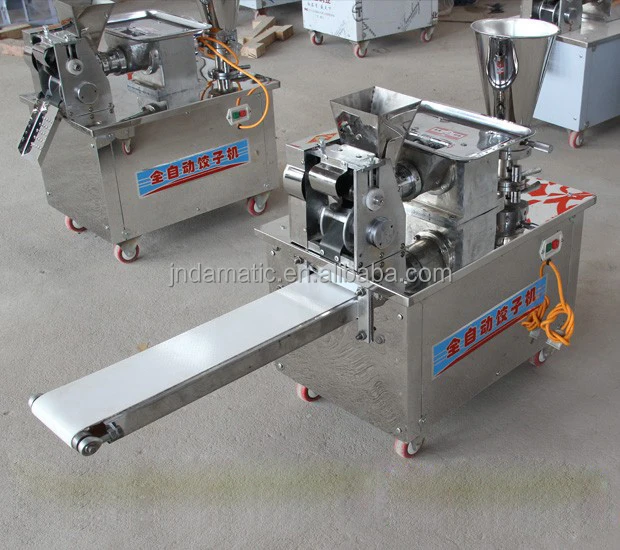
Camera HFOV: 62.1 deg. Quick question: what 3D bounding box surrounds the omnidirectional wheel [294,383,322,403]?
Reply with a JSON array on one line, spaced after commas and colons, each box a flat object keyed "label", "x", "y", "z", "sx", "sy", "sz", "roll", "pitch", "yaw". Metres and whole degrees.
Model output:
[{"label": "omnidirectional wheel", "x": -0.005, "y": 0.437, "z": 1.906, "sx": 0.117, "sy": 0.113, "sz": 0.037, "roll": 26, "pitch": 60, "yaw": -17}]

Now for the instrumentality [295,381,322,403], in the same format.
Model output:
[{"label": "instrumentality", "x": -0.003, "y": 0.430, "z": 1.895, "sx": 0.130, "sy": 0.126, "sz": 0.041, "roll": 32, "pitch": 68, "yaw": -14}]

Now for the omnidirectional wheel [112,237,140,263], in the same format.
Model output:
[{"label": "omnidirectional wheel", "x": -1.013, "y": -0.141, "z": 2.823, "sx": 0.126, "sy": 0.116, "sz": 0.045, "roll": 20, "pitch": 4, "yaw": -40}]

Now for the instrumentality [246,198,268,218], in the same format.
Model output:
[{"label": "instrumentality", "x": -0.340, "y": -0.428, "z": 3.246, "sx": 0.063, "sy": 0.080, "sz": 0.114, "roll": 32, "pitch": 34, "yaw": 15}]
